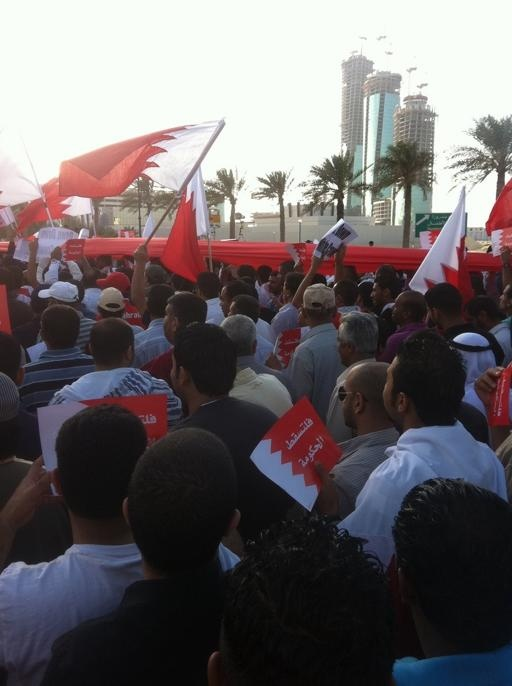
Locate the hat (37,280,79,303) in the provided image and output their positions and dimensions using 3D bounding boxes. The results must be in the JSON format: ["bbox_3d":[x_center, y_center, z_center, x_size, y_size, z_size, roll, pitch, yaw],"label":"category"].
[{"bbox_3d":[-1.973,-0.509,5.184,0.364,0.165,0.248,8,12,3],"label":"hat"}]

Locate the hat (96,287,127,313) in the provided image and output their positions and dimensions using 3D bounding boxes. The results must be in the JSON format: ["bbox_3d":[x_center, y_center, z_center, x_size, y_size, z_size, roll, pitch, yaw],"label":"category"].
[{"bbox_3d":[-1.339,-0.396,4.881,0.186,0.139,0.261,2,32,-13],"label":"hat"}]

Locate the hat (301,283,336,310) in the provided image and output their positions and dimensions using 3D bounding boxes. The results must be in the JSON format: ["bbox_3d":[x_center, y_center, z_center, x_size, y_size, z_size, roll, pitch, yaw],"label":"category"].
[{"bbox_3d":[0.534,-0.397,4.543,0.282,0.156,0.380,1,23,7],"label":"hat"}]
